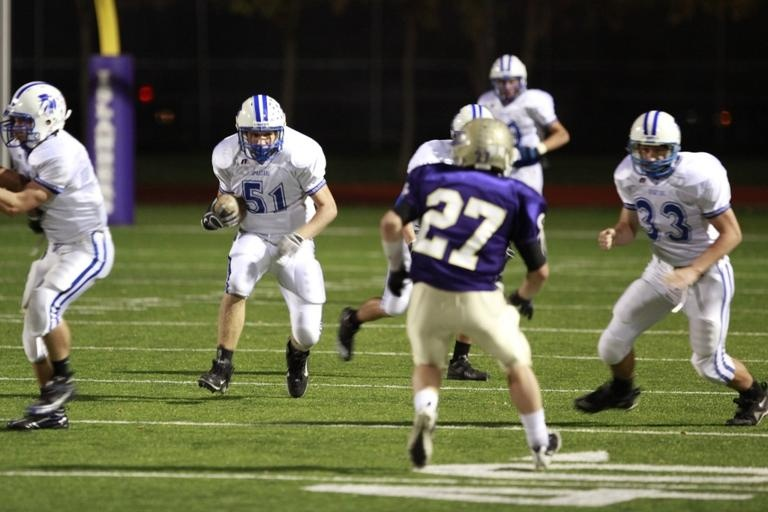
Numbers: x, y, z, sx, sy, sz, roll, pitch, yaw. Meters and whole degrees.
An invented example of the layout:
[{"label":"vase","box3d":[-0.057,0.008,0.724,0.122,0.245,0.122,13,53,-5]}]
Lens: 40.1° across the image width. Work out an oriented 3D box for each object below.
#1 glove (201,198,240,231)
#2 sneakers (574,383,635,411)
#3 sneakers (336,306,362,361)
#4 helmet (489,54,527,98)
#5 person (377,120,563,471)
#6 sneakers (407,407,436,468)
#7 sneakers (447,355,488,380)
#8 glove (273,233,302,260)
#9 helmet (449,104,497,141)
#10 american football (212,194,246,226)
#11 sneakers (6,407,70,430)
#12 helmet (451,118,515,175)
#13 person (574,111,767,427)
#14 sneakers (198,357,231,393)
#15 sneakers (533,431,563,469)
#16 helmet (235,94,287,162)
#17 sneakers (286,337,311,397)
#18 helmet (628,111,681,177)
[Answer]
[{"label":"glove","box3d":[-1.154,-0.301,7.567,0.268,0.195,0.190,-39,14,-21]},{"label":"sneakers","box3d":[1.547,1.017,7.307,0.492,0.213,0.169,-3,43,-7]},{"label":"sneakers","box3d":[-0.266,0.571,7.978,0.204,0.425,0.149,3,7,5]},{"label":"helmet","box3d":[1.124,-1.644,9.558,0.340,0.364,0.394,-2,17,5]},{"label":"person","box3d":[0.501,0.254,6.121,1.022,2.065,0.681,0,10,-1]},{"label":"sneakers","box3d":[0.216,1.029,5.924,0.134,0.342,0.161,8,-5,-3]},{"label":"sneakers","box3d":[0.618,0.877,8.180,0.380,0.162,0.134,0,3,10]},{"label":"glove","box3d":[-0.664,-0.070,7.518,0.133,0.131,0.182,37,18,15]},{"label":"helmet","box3d":[0.604,-0.999,7.463,0.360,0.339,0.193,5,-15,5]},{"label":"american football","box3d":[-1.083,-0.349,7.646,0.230,0.221,0.222,-31,13,3]},{"label":"sneakers","box3d":[-2.316,1.091,6.991,0.445,0.207,0.138,3,1,-11]},{"label":"helmet","box3d":[0.583,-0.647,6.248,0.279,0.267,0.353,8,32,-7]},{"label":"person","box3d":[1.946,0.090,7.037,1.214,2.077,0.687,2,10,11]},{"label":"sneakers","box3d":[-1.165,0.842,7.362,0.139,0.167,0.322,36,-3,0]},{"label":"sneakers","box3d":[0.942,1.130,6.162,0.104,0.136,0.306,-12,25,30]},{"label":"helmet","box3d":[-0.871,-0.968,7.603,0.380,0.419,0.461,-2,27,-4]},{"label":"sneakers","box3d":[-0.638,0.796,7.648,0.143,0.430,0.191,-4,12,-11]},{"label":"helmet","box3d":[1.805,-0.741,7.039,0.329,0.441,0.295,2,10,12]}]
